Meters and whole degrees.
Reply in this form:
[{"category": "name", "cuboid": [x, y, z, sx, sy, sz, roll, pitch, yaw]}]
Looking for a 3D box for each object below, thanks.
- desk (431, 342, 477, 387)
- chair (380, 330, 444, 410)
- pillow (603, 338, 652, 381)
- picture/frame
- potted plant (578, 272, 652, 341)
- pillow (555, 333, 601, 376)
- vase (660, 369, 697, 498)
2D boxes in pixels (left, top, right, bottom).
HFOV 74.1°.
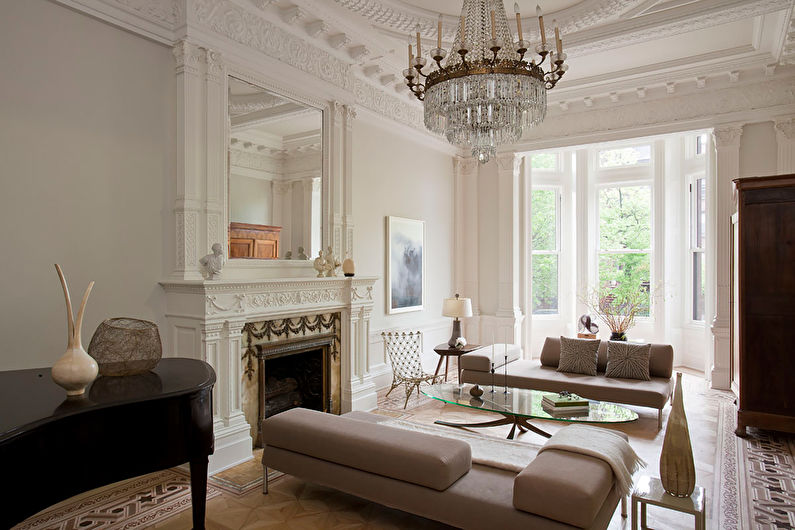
[{"category": "desk", "cuboid": [0.984, 1.736, 8.959, 0.730, 0.700, 0.738, 0, 1, 12]}, {"category": "chair", "cuboid": [0.238, 1.732, 8.880, 0.839, 1.021, 0.872, 0, -2, -10]}, {"category": "pillow", "cuboid": [3.439, 1.456, 8.092, 0.827, 0.804, 0.465, -6, -30, 32]}, {"category": "picture/frame", "cuboid": [0.104, 0.000, 9.436, 0.062, 1.675, 0.993, 0, 2, 40]}, {"category": "potted plant", "cuboid": [4.537, 0.873, 10.981, 1.296, 1.314, 1.615, -1, 1, 24]}, {"category": "pillow", "cuboid": [2.835, 1.425, 8.253, 0.582, 0.581, 0.229, 3, -5, 31]}, {"category": "vase", "cuboid": [2.630, 1.569, 4.934, 0.339, 1.118, 0.271, -2, 2, -25]}]
